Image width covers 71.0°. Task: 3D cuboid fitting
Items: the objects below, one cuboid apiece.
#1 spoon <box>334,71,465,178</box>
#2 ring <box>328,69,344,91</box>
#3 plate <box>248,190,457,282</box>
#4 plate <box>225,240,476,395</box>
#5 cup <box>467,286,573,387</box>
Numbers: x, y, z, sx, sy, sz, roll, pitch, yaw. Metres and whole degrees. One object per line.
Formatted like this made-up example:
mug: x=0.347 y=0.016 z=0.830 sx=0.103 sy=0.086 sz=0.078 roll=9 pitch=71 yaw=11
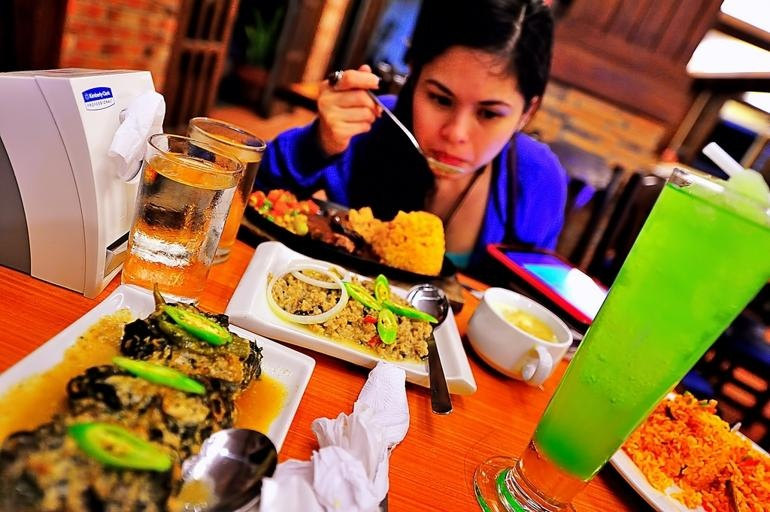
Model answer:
spoon: x=0.084 y=-0.682 z=2.787 sx=0.746 sy=0.134 sz=0.154 roll=43 pitch=-9 yaw=-19
ring: x=-0.223 y=-0.792 z=2.431 sx=0.038 sy=0.063 sz=0.084 roll=34 pitch=57 yaw=17
plate: x=-0.125 y=-0.106 z=1.874 sx=0.534 sy=0.079 sz=0.422 roll=26 pitch=13 yaw=-13
plate: x=-0.108 y=0.217 z=1.549 sx=0.586 sy=0.088 sz=0.423 roll=21 pitch=26 yaw=-13
cup: x=0.396 y=0.245 z=1.718 sx=0.266 sy=0.149 sz=0.353 roll=20 pitch=17 yaw=-13
